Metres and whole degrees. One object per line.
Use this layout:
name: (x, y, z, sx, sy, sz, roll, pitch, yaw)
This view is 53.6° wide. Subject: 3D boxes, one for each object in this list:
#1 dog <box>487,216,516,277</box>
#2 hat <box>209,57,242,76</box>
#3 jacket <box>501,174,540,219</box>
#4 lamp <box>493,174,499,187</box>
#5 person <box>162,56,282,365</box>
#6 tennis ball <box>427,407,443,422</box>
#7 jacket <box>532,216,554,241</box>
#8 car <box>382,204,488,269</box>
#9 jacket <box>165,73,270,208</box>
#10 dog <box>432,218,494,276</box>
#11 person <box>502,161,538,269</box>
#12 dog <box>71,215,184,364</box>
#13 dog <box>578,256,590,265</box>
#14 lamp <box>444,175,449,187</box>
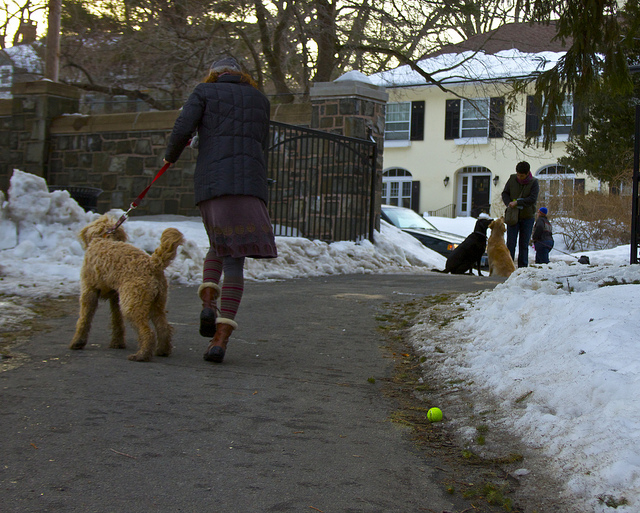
dog: (3.563, -0.176, 12.460, 0.551, 1.111, 0.957, 5, 7, 14)
hat: (-0.761, -1.516, 5.109, 0.171, 0.169, 0.229, 2, 10, 10)
jacket: (3.669, -1.081, 11.508, 0.637, 0.780, 0.485, 10, 28, 33)
lamp: (8.090, -3.500, 29.136, 0.169, 0.543, 0.362, 0, 8, -26)
person: (-0.718, -0.412, 4.946, 0.681, 2.322, 0.758, 9, 9, 38)
tennis ball: (0.692, 0.936, 3.803, 0.077, 0.072, 0.074, -6, 30, 4)
jacket: (4.579, -0.576, 13.039, 0.309, 0.511, 0.787, 8, 8, 32)
car: (2.801, -0.666, 16.263, 2.821, 0.931, 1.275, 2, 2, 19)
jacket: (-0.783, -0.915, 4.896, 0.799, 1.031, 0.398, 2, 7, -12)
dog: (3.053, -0.160, 13.084, 1.575, 1.185, 0.529, -10, 7, -27)
person: (3.600, -0.760, 11.396, 0.575, 1.856, 0.938, 4, 7, 5)
dog: (-1.469, 0.219, 4.807, 1.459, 1.031, 0.472, 6, 6, 44)
dog: (4.863, 0.065, 11.649, 0.251, 0.113, 0.301, 4, 0, 18)
lamp: (6.081, -3.617, 30.368, 0.086, 0.507, 0.252, -1, 8, -28)
